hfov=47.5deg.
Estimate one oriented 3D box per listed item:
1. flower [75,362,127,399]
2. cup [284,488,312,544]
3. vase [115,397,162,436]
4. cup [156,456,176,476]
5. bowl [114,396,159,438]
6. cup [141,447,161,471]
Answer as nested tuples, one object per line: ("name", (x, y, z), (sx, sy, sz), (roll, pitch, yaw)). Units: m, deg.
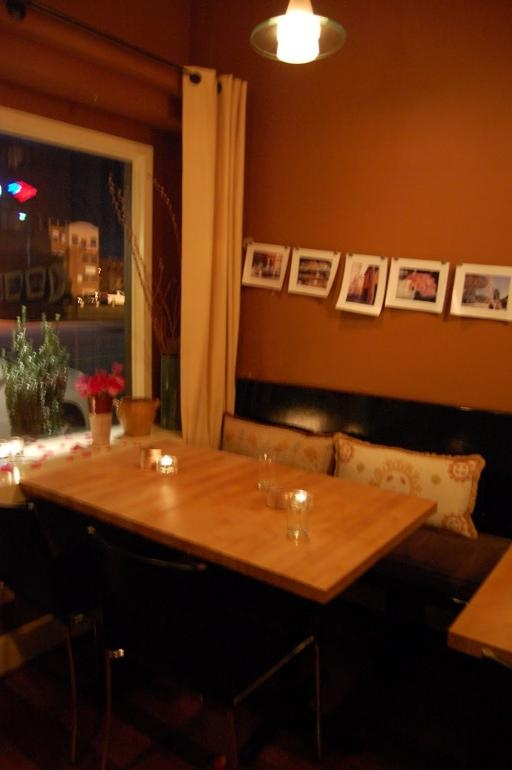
("flower", (-0.667, 0.001, 2.520), (0.160, 0.114, 0.155), (-5, -1, 23))
("cup", (0.114, 0.338, 1.487), (0.064, 0.142, 0.091), (6, 11, 26))
("vase", (-0.553, 0.141, 2.690), (0.171, 0.170, 0.176), (-1, 1, -14))
("cup", (-0.310, 0.261, 1.962), (0.055, 0.064, 0.057), (1, 10, 0))
("bowl", (-0.550, 0.130, 2.693), (0.173, 0.172, 0.179), (-1, 1, 0))
("cup", (-0.360, 0.255, 2.009), (0.061, 0.071, 0.058), (1, 3, 0))
